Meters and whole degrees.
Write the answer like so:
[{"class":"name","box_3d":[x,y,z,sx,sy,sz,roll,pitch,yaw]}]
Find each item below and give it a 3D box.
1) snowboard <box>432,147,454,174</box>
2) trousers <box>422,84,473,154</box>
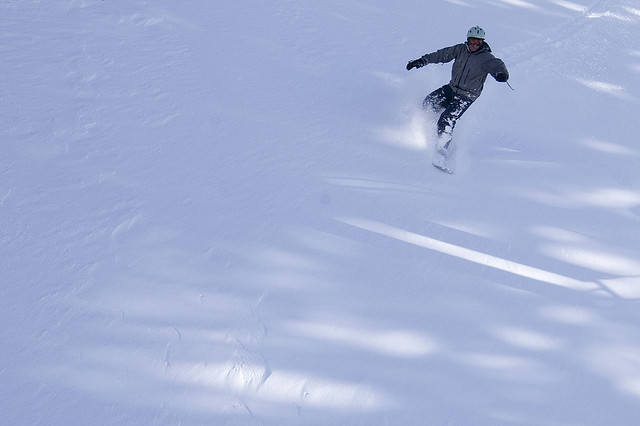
[{"class":"snowboard","box_3d":[1.874,-0.790,11.414,0.338,0.137,0.412,11,39,-3]},{"class":"trousers","box_3d":[1.976,-1.494,11.587,0.481,0.806,0.883,-4,42,-20]}]
